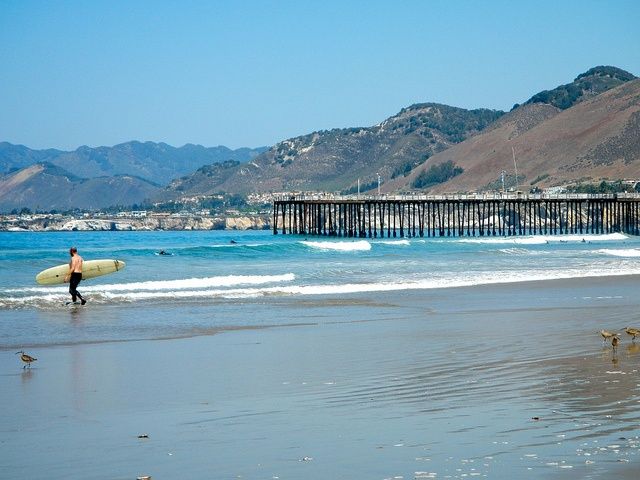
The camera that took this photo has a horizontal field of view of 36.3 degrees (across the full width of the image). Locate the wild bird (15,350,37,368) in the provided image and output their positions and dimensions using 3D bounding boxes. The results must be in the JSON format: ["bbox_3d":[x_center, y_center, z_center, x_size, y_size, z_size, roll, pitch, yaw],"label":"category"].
[{"bbox_3d":[-5.930,2.404,19.725,0.269,0.389,0.596,-8,-13,16],"label":"wild bird"}]
